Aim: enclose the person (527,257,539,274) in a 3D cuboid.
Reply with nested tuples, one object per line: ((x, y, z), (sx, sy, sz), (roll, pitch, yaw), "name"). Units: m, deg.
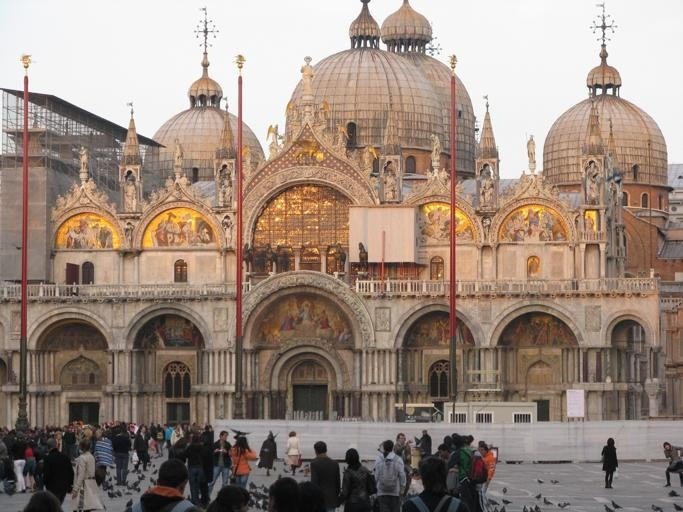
((11.207, 0.569, 120.847), (0.670, 0.991, 0.237), (2, 0, 11), "person")

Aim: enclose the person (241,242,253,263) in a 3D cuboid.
((-5.548, -0.155, 123.014), (0.476, 1.189, 0.379), (-1, -11, -1), "person")
